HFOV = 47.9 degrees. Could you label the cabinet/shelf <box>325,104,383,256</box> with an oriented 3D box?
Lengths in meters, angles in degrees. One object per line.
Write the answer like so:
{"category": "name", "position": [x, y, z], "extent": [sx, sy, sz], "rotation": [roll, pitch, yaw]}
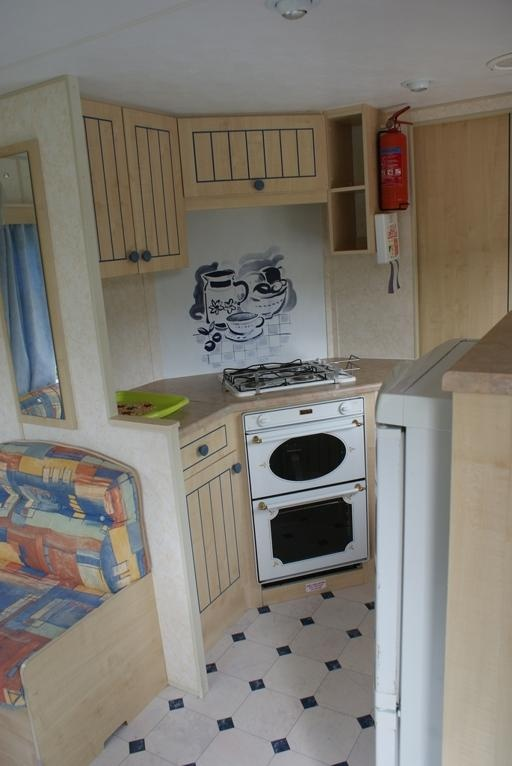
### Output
{"category": "cabinet/shelf", "position": [0.448, -0.957, 2.662], "extent": [0.247, 0.802, 0.333], "rotation": [4, 27, 16]}

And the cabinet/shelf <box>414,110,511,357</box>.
{"category": "cabinet/shelf", "position": [0.966, -0.720, 2.722], "extent": [0.416, 0.980, 0.114], "rotation": [0, 12, 22]}

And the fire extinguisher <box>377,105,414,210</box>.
{"category": "fire extinguisher", "position": [0.640, -1.024, 2.655], "extent": [0.142, 0.449, 0.256], "rotation": [3, 14, 33]}

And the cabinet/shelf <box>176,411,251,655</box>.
{"category": "cabinet/shelf", "position": [-0.151, 0.615, 2.385], "extent": [0.097, 0.939, 0.410], "rotation": [0, 12, 22]}

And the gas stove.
{"category": "gas stove", "position": [0.133, -0.049, 2.733], "extent": [0.589, 0.084, 0.487], "rotation": [-7, 12, -8]}

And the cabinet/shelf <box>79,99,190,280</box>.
{"category": "cabinet/shelf", "position": [-0.458, -0.742, 2.137], "extent": [0.220, 0.553, 0.587], "rotation": [3, 19, 24]}
